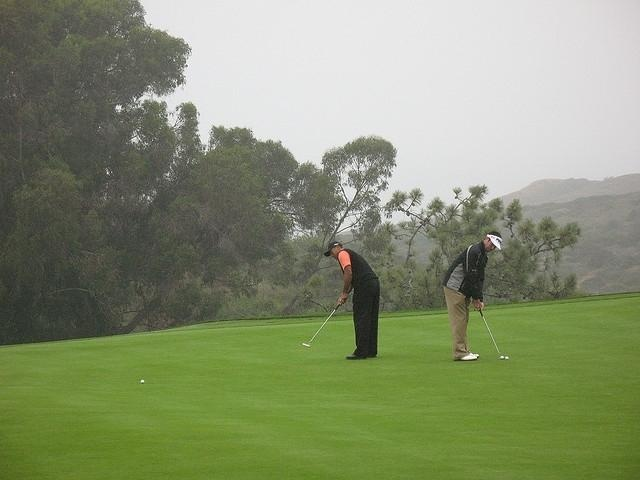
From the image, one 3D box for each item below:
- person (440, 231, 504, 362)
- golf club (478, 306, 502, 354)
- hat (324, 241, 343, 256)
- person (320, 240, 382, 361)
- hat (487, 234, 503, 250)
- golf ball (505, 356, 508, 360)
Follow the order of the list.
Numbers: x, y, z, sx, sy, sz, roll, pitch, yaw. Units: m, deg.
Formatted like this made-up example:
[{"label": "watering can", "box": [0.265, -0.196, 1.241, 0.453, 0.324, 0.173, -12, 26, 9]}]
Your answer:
[{"label": "person", "box": [2.720, 1.004, 11.739, 1.014, 2.253, 1.250, 2, 5, 37]}, {"label": "golf club", "box": [3.631, 1.955, 13.600, 0.095, 0.886, 0.153, -21, 7, 29]}, {"label": "hat", "box": [0.267, 0.198, 12.684, 0.331, 0.123, 0.242, -37, -5, 1]}, {"label": "person", "box": [0.708, 1.130, 12.253, 0.961, 2.125, 1.325, -2, 4, -10]}, {"label": "hat", "box": [3.277, 0.046, 11.741, 0.208, 0.163, 0.307, 34, 7, -32]}, {"label": "golf ball", "box": [3.238, 2.051, 11.025, 0.032, 0.048, 0.100, 3, 3, 17]}]
